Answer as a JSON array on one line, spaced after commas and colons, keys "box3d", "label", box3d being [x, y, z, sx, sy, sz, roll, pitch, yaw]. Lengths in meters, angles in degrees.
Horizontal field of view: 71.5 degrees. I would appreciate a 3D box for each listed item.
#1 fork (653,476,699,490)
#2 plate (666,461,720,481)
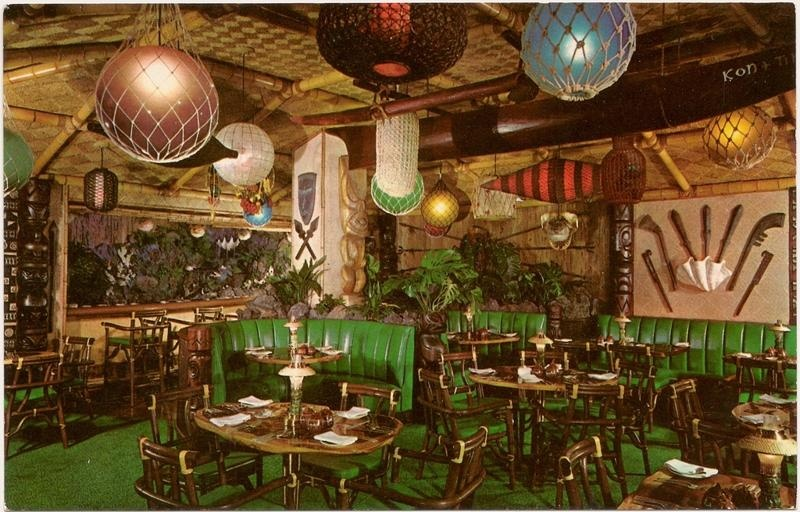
[{"box3d": [2.182, 1.777, 4.364, 0.322, 0.043, 0.085, 1, 6, 28], "label": "fork"}, {"box3d": [2.382, 1.723, 4.494, 0.412, 0.111, 0.192, 1, -6, -9], "label": "plate"}]
